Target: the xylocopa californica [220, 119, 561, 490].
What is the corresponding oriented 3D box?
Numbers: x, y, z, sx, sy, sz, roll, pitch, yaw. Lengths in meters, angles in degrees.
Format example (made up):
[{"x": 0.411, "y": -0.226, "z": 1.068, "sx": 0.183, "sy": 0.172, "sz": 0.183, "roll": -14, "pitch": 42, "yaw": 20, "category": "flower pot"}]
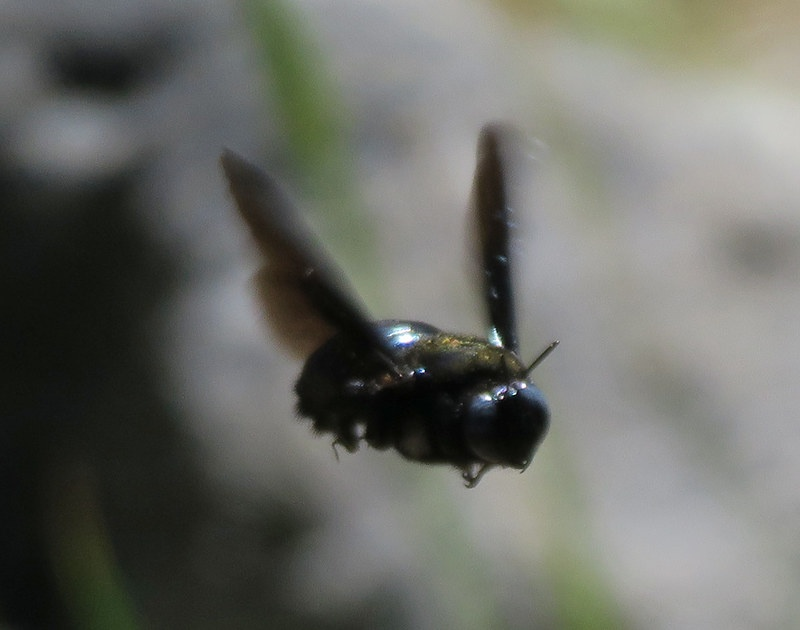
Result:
[{"x": -0.014, "y": -0.017, "z": 0.699, "sx": 0.197, "sy": 0.203, "sz": 0.222, "roll": 7, "pitch": 98, "yaw": -3, "category": "xylocopa californica"}]
